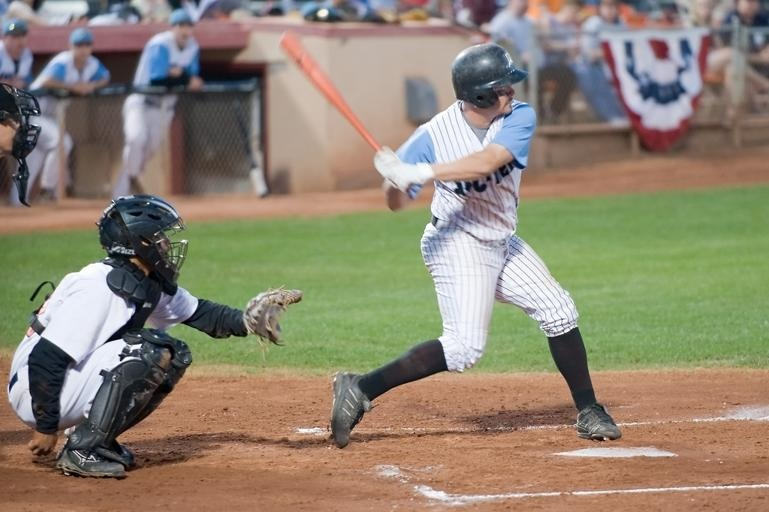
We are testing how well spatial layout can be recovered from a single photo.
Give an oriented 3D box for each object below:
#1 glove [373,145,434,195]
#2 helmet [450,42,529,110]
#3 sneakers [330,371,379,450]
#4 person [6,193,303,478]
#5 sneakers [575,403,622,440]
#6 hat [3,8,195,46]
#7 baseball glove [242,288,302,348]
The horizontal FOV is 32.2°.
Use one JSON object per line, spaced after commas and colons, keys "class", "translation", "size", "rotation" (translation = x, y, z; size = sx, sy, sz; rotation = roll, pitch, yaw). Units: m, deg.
{"class": "glove", "translation": [0.152, -0.624, 9.577], "size": [0.546, 0.331, 0.226], "rotation": [2, 6, 43]}
{"class": "helmet", "translation": [0.817, -1.311, 9.673], "size": [0.582, 0.391, 0.415], "rotation": [-1, 19, 10]}
{"class": "sneakers", "translation": [-0.224, 1.100, 9.808], "size": [0.319, 0.589, 0.230], "rotation": [8, -2, 2]}
{"class": "person", "translation": [-1.907, 0.555, 9.404], "size": [1.493, 1.958, 0.390], "rotation": [-3, 5, -8]}
{"class": "sneakers", "translation": [1.555, 1.227, 9.803], "size": [0.191, 0.173, 0.366], "rotation": [1, -4, -28]}
{"class": "hat", "translation": [-2.958, -2.425, 14.680], "size": [1.464, 0.294, 1.233], "rotation": [2, 9, 10]}
{"class": "baseball glove", "translation": [-0.812, 0.435, 9.519], "size": [0.382, 0.206, 0.446], "rotation": [-8, 15, -31]}
